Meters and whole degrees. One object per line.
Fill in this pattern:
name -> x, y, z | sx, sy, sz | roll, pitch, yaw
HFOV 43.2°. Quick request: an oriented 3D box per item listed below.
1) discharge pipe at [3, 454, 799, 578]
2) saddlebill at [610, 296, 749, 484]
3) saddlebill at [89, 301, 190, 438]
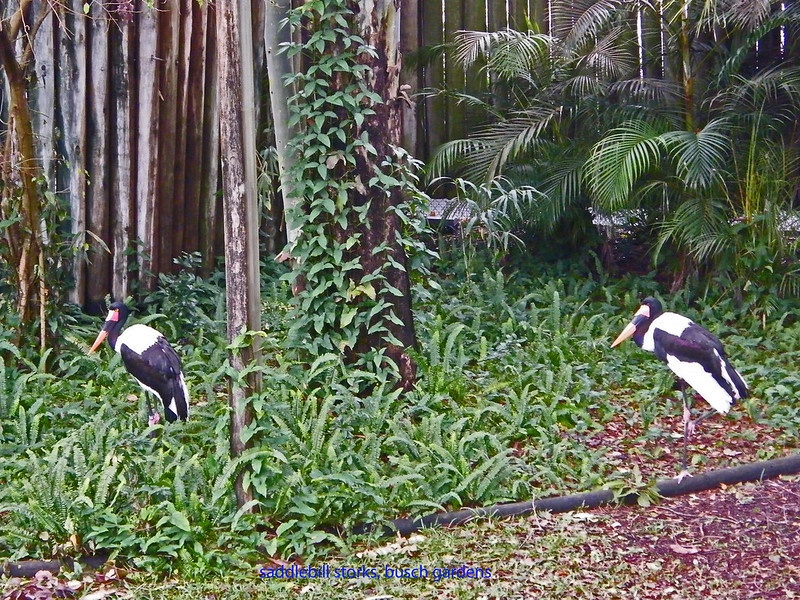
discharge pipe -> 0.189, 1.383, 6.503 | 5.276, 0.226, 0.147 | -4, 14, -11
saddlebill -> 2.025, 0.646, 7.395 | 0.960, 1.347, 0.320 | -5, -1, 39
saddlebill -> -2.044, 0.408, 7.638 | 0.458, 0.760, 1.618 | -10, 17, -32
